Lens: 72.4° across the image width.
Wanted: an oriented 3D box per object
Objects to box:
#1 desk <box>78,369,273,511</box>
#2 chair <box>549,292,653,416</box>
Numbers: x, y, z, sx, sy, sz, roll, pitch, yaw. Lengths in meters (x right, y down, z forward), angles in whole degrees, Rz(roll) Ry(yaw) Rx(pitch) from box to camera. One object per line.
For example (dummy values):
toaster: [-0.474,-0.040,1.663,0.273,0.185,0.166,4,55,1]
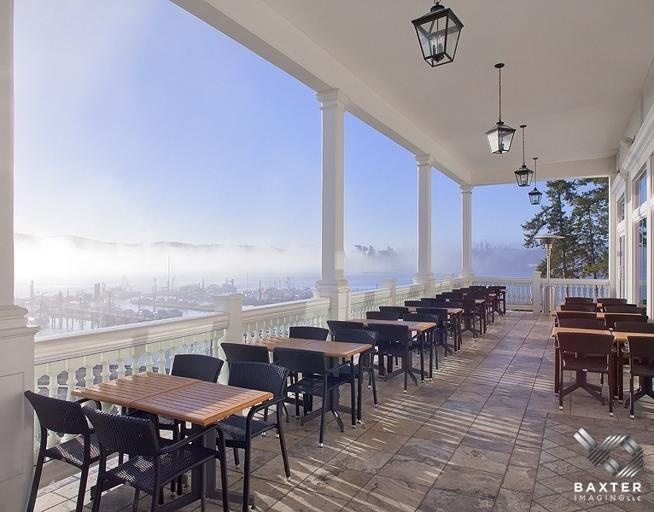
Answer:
desk: [-1.156,1.497,3.746,0.747,0.732,1.398,14,-8,9]
chair: [3.289,1.354,5.517,0.908,0.837,1.251,-4,-4,35]
